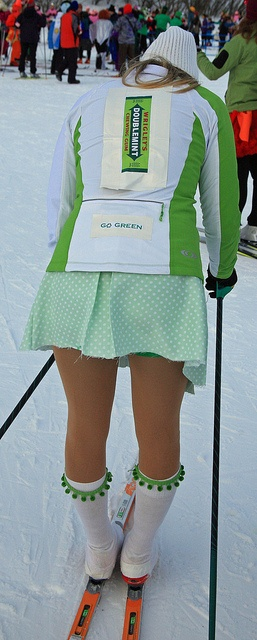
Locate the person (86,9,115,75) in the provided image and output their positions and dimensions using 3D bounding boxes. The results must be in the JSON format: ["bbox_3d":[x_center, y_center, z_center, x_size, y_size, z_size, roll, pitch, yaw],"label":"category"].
[{"bbox_3d":[-0.727,-7.438,11.491,0.421,1.373,0.423,1,54,-6],"label":"person"}]

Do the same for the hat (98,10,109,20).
[{"bbox_3d":[-0.601,-7.503,10.737,0.205,0.192,0.356,-10,52,-4],"label":"hat"}]

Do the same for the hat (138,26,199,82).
[{"bbox_3d":[0.115,-0.611,1.021,0.109,0.128,0.085,-12,28,-43],"label":"hat"}]

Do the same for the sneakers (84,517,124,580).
[{"bbox_3d":[-0.068,0.613,1.284,0.062,0.100,0.221,4,35,5],"label":"sneakers"}]

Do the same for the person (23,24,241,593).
[{"bbox_3d":[0.024,0.086,1.128,0.423,1.442,0.559,8,26,22],"label":"person"}]
